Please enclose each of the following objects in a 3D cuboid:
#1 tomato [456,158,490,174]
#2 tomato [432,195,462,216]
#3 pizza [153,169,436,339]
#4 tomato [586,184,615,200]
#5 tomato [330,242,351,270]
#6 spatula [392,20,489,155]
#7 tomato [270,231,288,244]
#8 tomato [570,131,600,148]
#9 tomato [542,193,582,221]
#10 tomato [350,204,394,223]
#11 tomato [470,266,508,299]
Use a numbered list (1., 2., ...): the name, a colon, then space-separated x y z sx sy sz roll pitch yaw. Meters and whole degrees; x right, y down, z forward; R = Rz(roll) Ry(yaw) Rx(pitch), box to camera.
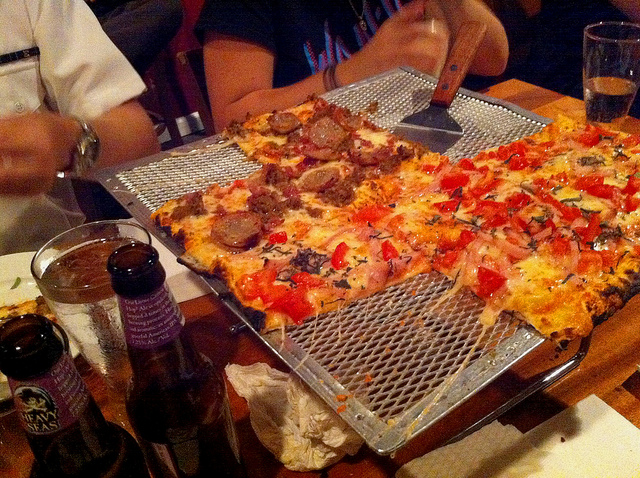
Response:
1. tomato: 0.511 -0.240 1.718 0.074 0.019 0.070 -3 26 -41
2. tomato: 0.403 -0.106 1.583 0.065 0.019 0.060 14 52 29
3. pizza: 0.040 0.021 1.790 0.617 0.902 0.089 29 80 4
4. tomato: 0.866 -0.146 1.540 0.061 0.016 0.054 -11 28 -7
5. tomato: 0.066 0.051 1.440 0.050 0.018 0.077 26 56 28
6. spatula: 0.443 -0.568 2.025 0.340 0.569 0.363 19 32 37
7. tomato: -0.126 -0.001 1.544 0.041 0.011 0.038 -19 44 -20
8. tomato: 0.929 -0.363 1.772 0.078 0.020 0.070 -14 38 17
9. tomato: 0.720 -0.095 1.506 0.052 0.025 0.107 -33 38 -11
10. tomato: 0.159 -0.077 1.597 0.077 0.026 0.084 -6 14 31
11. tomato: 0.441 0.121 1.322 0.075 0.030 0.092 17 43 21
